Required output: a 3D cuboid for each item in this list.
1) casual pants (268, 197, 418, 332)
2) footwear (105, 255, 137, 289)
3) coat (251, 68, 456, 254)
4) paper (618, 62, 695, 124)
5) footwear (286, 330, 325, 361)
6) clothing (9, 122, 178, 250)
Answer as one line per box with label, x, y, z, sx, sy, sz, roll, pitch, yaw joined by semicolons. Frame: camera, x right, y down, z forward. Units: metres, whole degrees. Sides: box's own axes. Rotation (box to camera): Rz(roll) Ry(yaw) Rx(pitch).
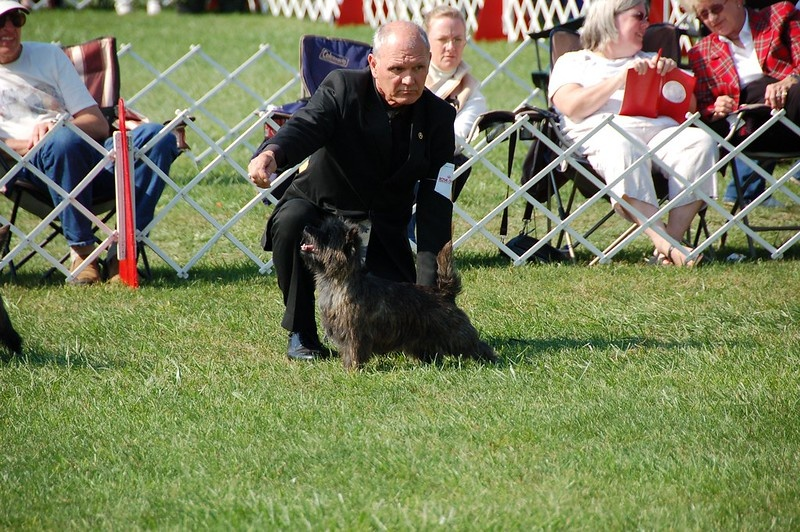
casual pants;-0.395;-0.009;9.813;1.127;1.214;0.853;0;-4;-10
footwear;-2.218;0.050;10.778;0.080;0.128;0.394;21;-1;-35
coat;-0.272;-0.715;9.487;0.973;1.210;0.797;14;21;-22
paper;2.125;-1.418;11.147;0.426;0.466;0.146;5;25;-5
footwear;-0.666;0.566;9.576;0.267;0.121;0.156;4;6;44
clothing;-2.530;-0.656;11.116;0.870;1.224;1.131;-2;-7;-27
